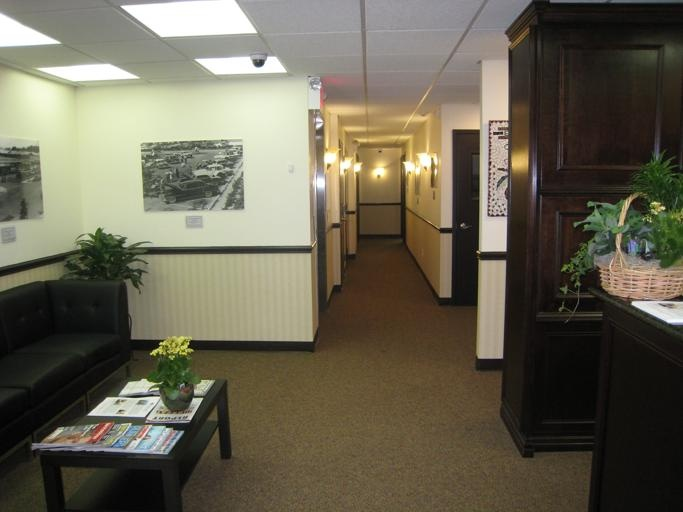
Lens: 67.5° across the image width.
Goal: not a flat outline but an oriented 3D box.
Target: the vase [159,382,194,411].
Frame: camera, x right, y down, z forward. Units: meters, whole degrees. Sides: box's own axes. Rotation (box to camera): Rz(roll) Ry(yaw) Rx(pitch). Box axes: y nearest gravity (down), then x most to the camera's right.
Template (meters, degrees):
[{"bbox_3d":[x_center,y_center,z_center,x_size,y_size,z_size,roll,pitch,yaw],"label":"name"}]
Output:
[{"bbox_3d":[-1.099,0.958,3.454,0.178,0.144,0.194,2,4,-11],"label":"vase"}]

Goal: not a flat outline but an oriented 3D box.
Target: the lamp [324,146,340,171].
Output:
[{"bbox_3d":[-0.140,-1.415,7.393,0.186,0.380,0.508,7,6,13],"label":"lamp"}]

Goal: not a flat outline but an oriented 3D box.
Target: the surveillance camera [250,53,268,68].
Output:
[{"bbox_3d":[-0.755,-1.816,4.788,0.104,0.083,0.106,0,12,4],"label":"surveillance camera"}]
